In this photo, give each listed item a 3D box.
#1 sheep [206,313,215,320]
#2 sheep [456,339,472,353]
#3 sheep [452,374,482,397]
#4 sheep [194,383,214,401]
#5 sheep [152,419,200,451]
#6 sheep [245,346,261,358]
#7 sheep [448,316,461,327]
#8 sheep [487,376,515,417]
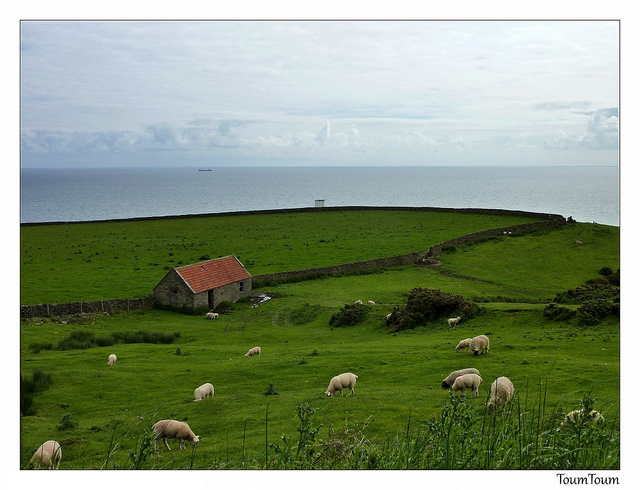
[{"bbox_3d":[-10.105,6.502,56.773,0.527,0.483,0.838,-9,6,-31],"label":"sheep"},{"bbox_3d":[9.153,6.303,39.109,1.051,0.787,1.053,-3,6,25],"label":"sheep"},{"bbox_3d":[7.559,7.226,31.681,1.401,1.149,0.899,-4,6,10],"label":"sheep"},{"bbox_3d":[-6.548,8.227,34.508,0.656,0.727,1.467,-3,5,24],"label":"sheep"},{"bbox_3d":[-6.756,8.764,28.926,1.982,1.526,1.632,-6,5,-12],"label":"sheep"},{"bbox_3d":[-4.752,7.476,43.187,1.094,0.510,1.460,-6,5,-8],"label":"sheep"},{"bbox_3d":[10.020,5.698,46.215,0.673,0.524,0.840,-3,6,25],"label":"sheep"},{"bbox_3d":[8.602,7.227,29.547,1.092,1.524,3.271,4,13,27],"label":"sheep"}]
